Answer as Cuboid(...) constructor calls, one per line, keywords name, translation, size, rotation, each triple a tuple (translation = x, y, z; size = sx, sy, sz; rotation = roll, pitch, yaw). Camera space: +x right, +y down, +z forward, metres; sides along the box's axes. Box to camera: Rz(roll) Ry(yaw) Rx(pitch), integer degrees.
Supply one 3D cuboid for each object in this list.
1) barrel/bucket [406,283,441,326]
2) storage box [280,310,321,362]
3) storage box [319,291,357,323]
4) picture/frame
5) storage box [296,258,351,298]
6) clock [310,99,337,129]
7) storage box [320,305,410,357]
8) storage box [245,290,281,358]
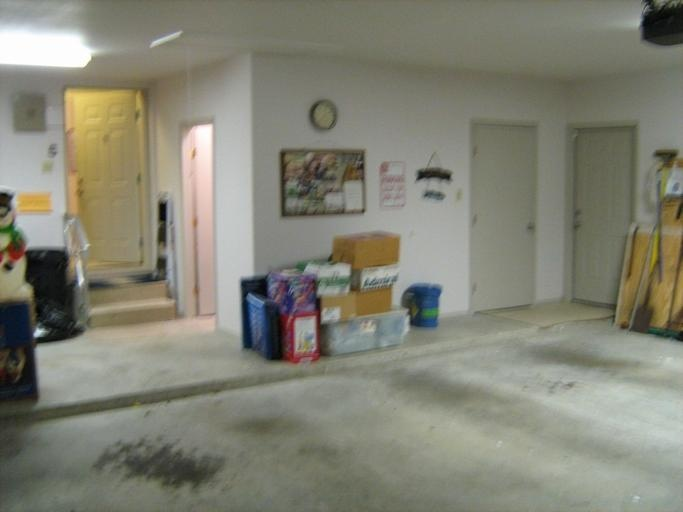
Cuboid(name="barrel/bucket", translation=(1.013, 0.618, 6.801), size=(0.553, 0.552, 0.343), rotation=(5, 9, 41))
Cuboid(name="storage box", translation=(-0.506, 0.833, 5.523), size=(0.423, 0.564, 0.394), rotation=(1, -12, -3))
Cuboid(name="storage box", translation=(-0.030, 0.527, 5.588), size=(0.510, 0.267, 0.320), rotation=(-6, -2, -26))
Cuboid(name="picture/frame", translation=(-0.195, -0.855, 6.204), size=(1.102, 0.775, 0.047), rotation=(3, 0, 27))
Cuboid(name="storage box", translation=(-0.130, 0.212, 5.608), size=(0.378, 0.254, 0.374), rotation=(-1, 5, -35))
Cuboid(name="clock", translation=(-0.197, -1.603, 6.155), size=(0.323, 0.341, 0.083), rotation=(-6, 14, -31))
Cuboid(name="storage box", translation=(0.226, 0.762, 5.785), size=(0.726, 0.251, 0.474), rotation=(-8, 5, -29))
Cuboid(name="storage box", translation=(-0.800, 0.732, 5.736), size=(0.249, 0.629, 0.678), rotation=(-4, 8, -26))
